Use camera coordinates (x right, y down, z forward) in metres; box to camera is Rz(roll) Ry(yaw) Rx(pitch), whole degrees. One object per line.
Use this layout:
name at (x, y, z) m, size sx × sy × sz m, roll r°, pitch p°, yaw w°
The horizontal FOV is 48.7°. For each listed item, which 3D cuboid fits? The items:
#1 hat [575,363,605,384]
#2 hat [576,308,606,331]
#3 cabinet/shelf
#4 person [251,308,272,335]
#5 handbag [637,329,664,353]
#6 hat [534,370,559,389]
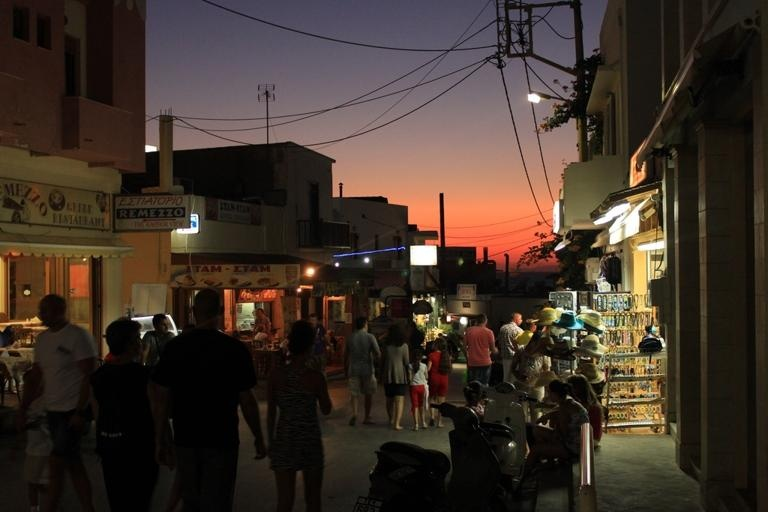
hat at (3.804, 2.160, 15.619) m, size 0.417 × 0.149 × 0.408 m, roll 19°, pitch 17°, yaw 37°
hat at (4.062, 1.276, 16.531) m, size 0.430 × 0.142 × 0.378 m, roll 22°, pitch 18°, yaw -38°
cabinet/shelf at (4.752, 2.679, 16.433) m, size 1.135 × 1.691 × 1.023 m, roll 0°, pitch -9°, yaw -45°
person at (-3.980, 2.121, 27.112) m, size 0.530 × 0.835 × 0.731 m, roll 0°, pitch 3°, yaw 32°
handbag at (5.042, 1.621, 16.082) m, size 0.359 × 0.264 × 0.570 m, roll 0°, pitch 6°, yaw 11°
hat at (3.013, 2.291, 15.946) m, size 0.494 × 0.152 × 0.500 m, roll -2°, pitch -2°, yaw -1°
